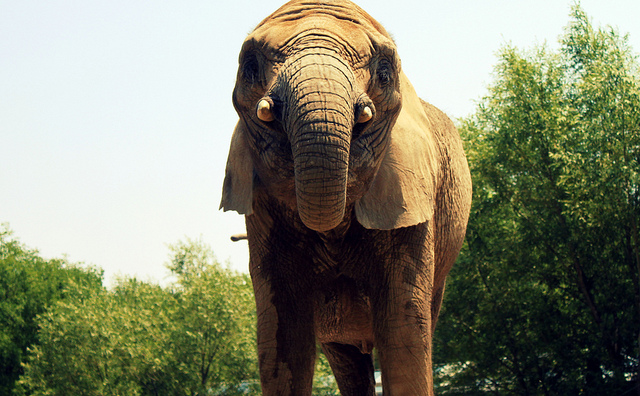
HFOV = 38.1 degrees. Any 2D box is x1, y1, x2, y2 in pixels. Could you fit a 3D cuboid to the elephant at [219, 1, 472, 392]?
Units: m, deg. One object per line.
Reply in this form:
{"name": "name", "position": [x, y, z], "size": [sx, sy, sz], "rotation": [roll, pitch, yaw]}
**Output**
{"name": "elephant", "position": [0.630, 0.094, 27.323], "size": [7.250, 8.772, 5.903], "rotation": [28, -44, -33]}
